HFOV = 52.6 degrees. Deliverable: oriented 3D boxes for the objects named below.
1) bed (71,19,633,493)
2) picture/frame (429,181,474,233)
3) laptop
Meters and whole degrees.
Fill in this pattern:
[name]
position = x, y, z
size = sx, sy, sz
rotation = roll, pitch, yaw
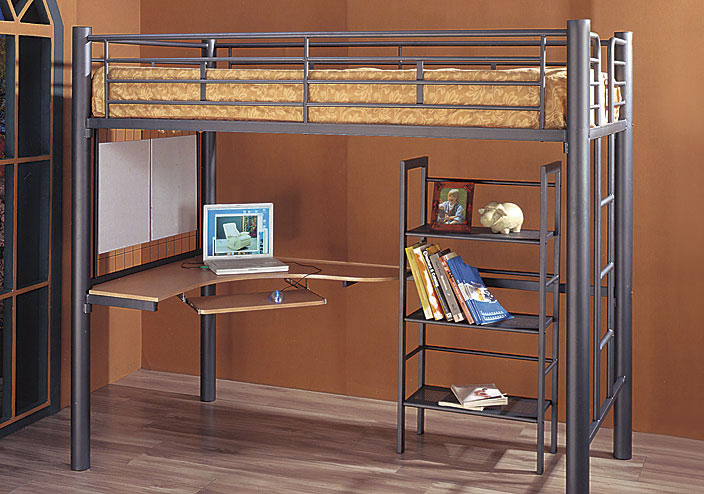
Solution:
[bed]
position = 0.136, -0.011, 3.927
size = 2.956, 2.293, 1.452
rotation = 3, 15, 10
[picture/frame]
position = 0.540, -0.214, 3.838
size = 0.312, 0.342, 0.023
rotation = 2, 0, 15
[laptop]
position = -0.624, -0.056, 4.168
size = 0.475, 0.344, 0.353
rotation = -2, 12, -20
